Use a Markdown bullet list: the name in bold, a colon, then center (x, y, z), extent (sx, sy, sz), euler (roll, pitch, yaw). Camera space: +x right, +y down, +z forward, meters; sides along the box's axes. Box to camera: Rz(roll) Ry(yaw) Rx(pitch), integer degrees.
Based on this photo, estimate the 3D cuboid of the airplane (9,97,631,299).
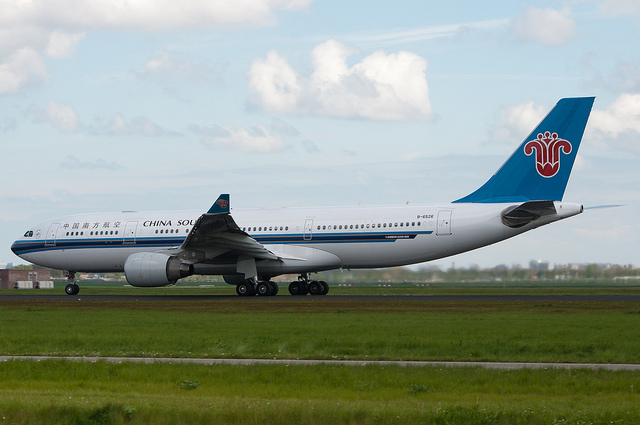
- **airplane**: center (-2.011, 0.243, 49.802), extent (30.907, 6.320, 26.289), euler (-3, 0, 27)
